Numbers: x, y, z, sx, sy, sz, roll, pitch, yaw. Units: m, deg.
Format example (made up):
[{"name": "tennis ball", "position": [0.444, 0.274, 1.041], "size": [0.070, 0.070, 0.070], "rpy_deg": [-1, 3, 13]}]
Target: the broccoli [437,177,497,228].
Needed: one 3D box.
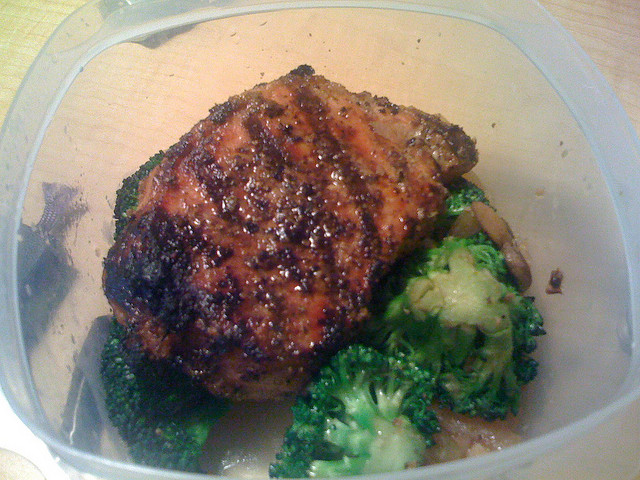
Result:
[{"name": "broccoli", "position": [0.578, -0.165, 2.905], "size": [0.179, 0.127, 0.224], "rpy_deg": [-3, 106, 5]}]

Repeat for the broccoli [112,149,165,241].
[{"name": "broccoli", "position": [-0.782, -0.196, 2.995], "size": [0.251, 0.071, 0.350], "rpy_deg": [15, 77, 52]}]
